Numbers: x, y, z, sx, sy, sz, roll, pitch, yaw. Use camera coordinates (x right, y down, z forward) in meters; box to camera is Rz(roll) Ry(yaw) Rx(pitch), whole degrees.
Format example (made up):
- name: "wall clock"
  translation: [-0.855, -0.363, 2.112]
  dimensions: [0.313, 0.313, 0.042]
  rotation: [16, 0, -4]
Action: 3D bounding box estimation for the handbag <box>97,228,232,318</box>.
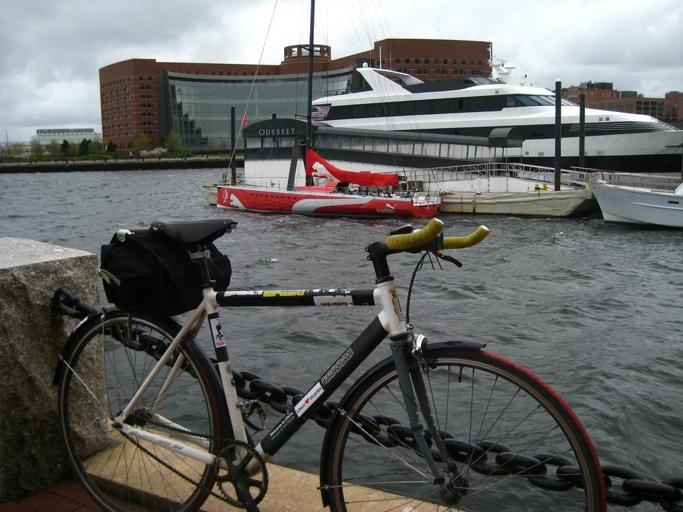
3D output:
- name: "handbag"
  translation: [-0.780, 0.046, 3.018]
  dimensions: [0.526, 0.296, 0.483]
  rotation: [9, 7, 10]
